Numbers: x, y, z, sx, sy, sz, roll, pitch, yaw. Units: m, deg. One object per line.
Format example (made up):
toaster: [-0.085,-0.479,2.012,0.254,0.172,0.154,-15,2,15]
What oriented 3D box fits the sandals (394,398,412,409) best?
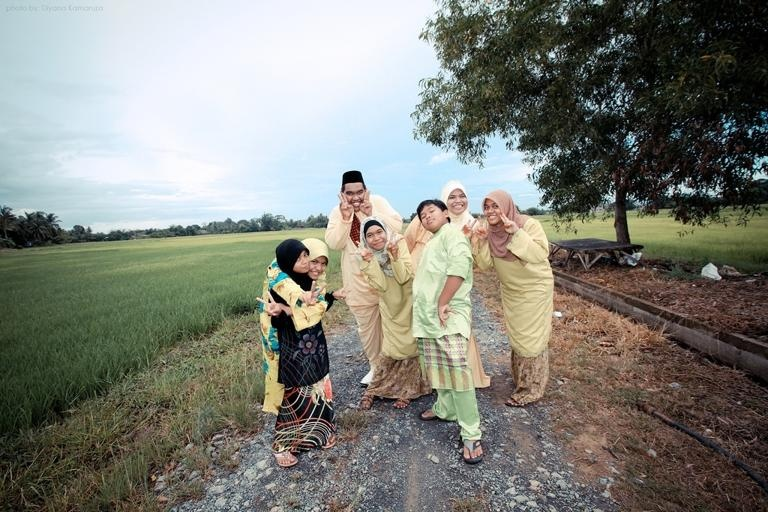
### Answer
sandals: [0.272,2.224,6.030,0.301,0.137,0.094,22,29,-13]

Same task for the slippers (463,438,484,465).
slippers: [1.184,2.573,5.300,0.288,0.284,0.182,-4,4,12]

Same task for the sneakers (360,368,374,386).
sneakers: [-0.274,2.001,6.531,0.142,0.185,0.400,3,-10,8]

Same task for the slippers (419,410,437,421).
slippers: [0.645,2.288,5.787,0.204,0.073,0.119,3,5,6]

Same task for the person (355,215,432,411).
person: [0.127,0.894,5.929,1.174,2.946,0.951,-5,11,-12]

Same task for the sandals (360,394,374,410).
sandals: [-0.250,2.186,6.008,0.129,0.073,0.288,-3,14,-2]

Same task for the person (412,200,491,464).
person: [0.847,0.975,5.460,0.833,3.484,0.648,-3,4,12]

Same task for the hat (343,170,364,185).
hat: [-0.476,-1.176,6.019,0.273,0.185,0.281,-5,4,-13]

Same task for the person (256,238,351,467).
person: [-1.190,1.278,5.381,0.895,2.969,0.528,-5,5,-16]
